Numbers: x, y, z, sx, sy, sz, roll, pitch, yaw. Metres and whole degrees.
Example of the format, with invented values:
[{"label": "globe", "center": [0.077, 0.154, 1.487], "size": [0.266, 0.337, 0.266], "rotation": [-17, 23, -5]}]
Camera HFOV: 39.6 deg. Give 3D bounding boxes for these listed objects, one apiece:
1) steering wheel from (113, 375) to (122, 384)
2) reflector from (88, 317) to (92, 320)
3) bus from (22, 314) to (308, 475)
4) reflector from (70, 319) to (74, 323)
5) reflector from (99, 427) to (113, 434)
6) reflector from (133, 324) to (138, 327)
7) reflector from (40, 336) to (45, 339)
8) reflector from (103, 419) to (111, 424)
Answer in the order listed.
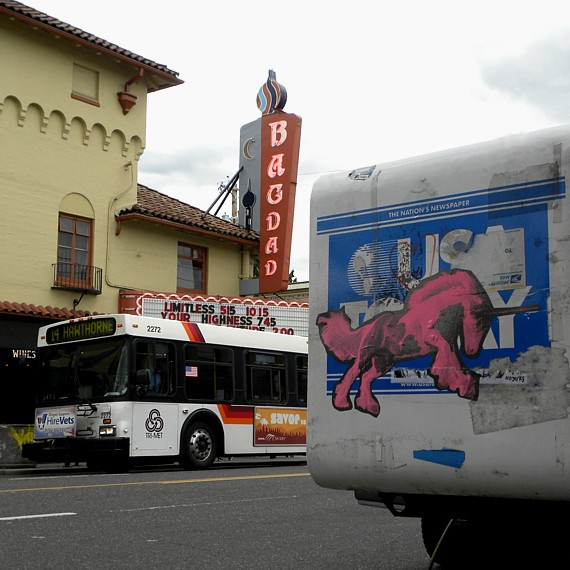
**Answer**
[{"label": "steering wheel", "center": [-3.205, 1.795, 15.133], "size": [0.189, 0.159, 0.040], "rotation": [-5, -6, 27]}, {"label": "reflector", "center": [-3.880, 0.660, 15.750], "size": [0.081, 0.053, 0.060], "rotation": [0, -5, -21]}, {"label": "bus", "center": [-1.484, 2.860, 18.975], "size": [2.713, 3.283, 9.239], "rotation": [-13, -16, 32]}, {"label": "reflector", "center": [-4.309, 0.727, 16.030], "size": [0.053, 0.065, 0.037], "rotation": [-1, 1, -9]}, {"label": "reflector", "center": [-3.341, 2.709, 14.805], "size": [0.317, 0.112, 0.021], "rotation": [-5, -6, 26]}, {"label": "reflector", "center": [-2.915, 0.778, 15.392], "size": [0.078, 0.052, 0.074], "rotation": [0, 9, -6]}, {"label": "reflector", "center": [-5.064, 1.093, 16.561], "size": [0.063, 0.070, 0.039], "rotation": [0, -3, 9]}, {"label": "reflector", "center": [-3.339, 2.552, 14.862], "size": [0.185, 0.091, 0.041], "rotation": [-5, -6, 23]}]
